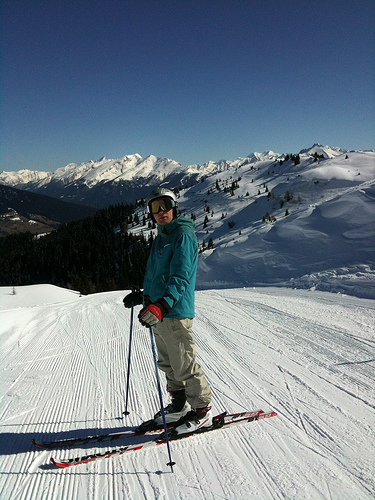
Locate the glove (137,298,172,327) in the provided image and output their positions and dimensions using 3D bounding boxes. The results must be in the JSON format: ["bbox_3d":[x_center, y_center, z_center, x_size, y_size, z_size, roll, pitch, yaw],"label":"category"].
[{"bbox_3d":[-0.332,0.636,3.784,0.325,0.243,0.143,-36,11,-16],"label":"glove"}]

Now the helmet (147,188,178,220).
[{"bbox_3d":[-0.308,-0.567,4.325,0.310,0.367,0.403,-5,13,6],"label":"helmet"}]

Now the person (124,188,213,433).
[{"bbox_3d":[-0.185,0.692,4.265,0.886,2.330,0.971,-4,2,-25],"label":"person"}]
